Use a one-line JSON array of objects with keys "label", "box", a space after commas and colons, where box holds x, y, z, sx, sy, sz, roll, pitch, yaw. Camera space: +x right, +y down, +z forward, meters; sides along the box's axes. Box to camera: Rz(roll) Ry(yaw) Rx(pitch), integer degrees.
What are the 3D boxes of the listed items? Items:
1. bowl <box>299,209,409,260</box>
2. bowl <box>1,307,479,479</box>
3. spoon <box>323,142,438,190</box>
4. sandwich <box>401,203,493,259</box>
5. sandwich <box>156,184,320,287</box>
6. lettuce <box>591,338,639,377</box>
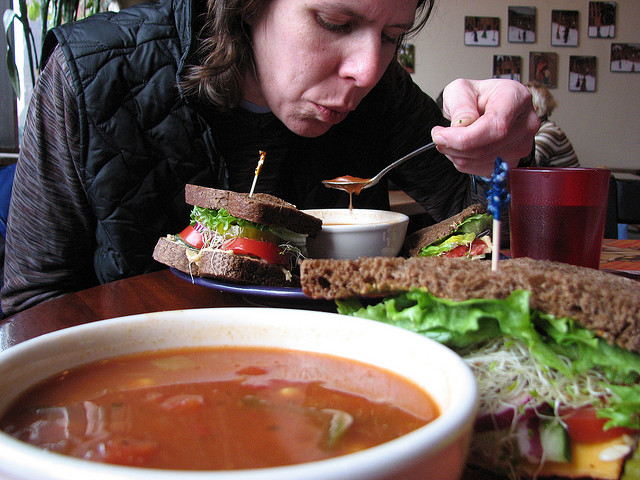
[{"label": "bowl", "box": [0.091, -0.050, 1.560, 0.322, 0.156, 0.216, -5, 8, -25]}, {"label": "bowl", "box": [-0.111, 0.112, 0.644, 0.404, 0.207, 0.496, 0, 4, -27]}, {"label": "spoon", "box": [0.230, -0.242, 1.753, 0.130, 0.092, 0.578, -23, 6, -36]}, {"label": "sandwich", "box": [0.434, 0.013, 1.723, 0.276, 0.135, 0.300, -13, -13, 21]}, {"label": "sandwich", "box": [-0.239, -0.038, 1.431, 0.310, 0.186, 0.354, 14, -9, 15]}, {"label": "lettuce", "box": [0.377, 0.148, 0.647, 0.053, 0.032, 0.031, 1, 10, 32]}]
